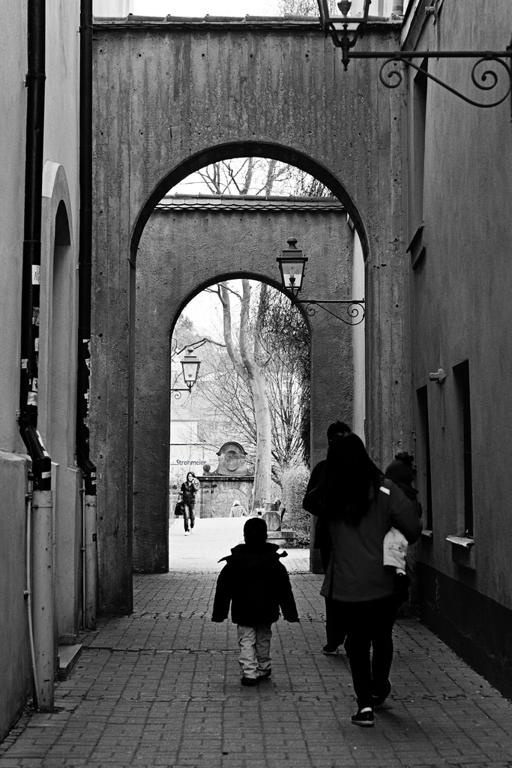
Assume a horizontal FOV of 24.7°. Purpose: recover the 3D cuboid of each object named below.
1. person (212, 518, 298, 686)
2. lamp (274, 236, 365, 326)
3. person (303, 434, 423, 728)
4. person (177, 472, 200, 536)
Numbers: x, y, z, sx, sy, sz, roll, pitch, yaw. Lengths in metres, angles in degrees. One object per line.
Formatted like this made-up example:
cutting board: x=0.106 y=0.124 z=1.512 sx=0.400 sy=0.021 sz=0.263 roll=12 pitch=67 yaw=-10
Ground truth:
person: x=-0.002 y=1.417 z=7.331 sx=0.413 sy=1.129 sz=0.484 roll=8 pitch=-36 yaw=-9
lamp: x=0.891 y=-1.420 z=15.512 sx=0.816 sy=1.262 sz=0.318 roll=3 pitch=13 yaw=13
person: x=0.602 y=1.053 z=6.422 sx=0.490 sy=1.023 sz=0.967 roll=-3 pitch=-3 yaw=1
person: x=-1.437 y=2.508 z=25.034 sx=0.318 sy=1.356 sz=0.395 roll=-2 pitch=17 yaw=-13
